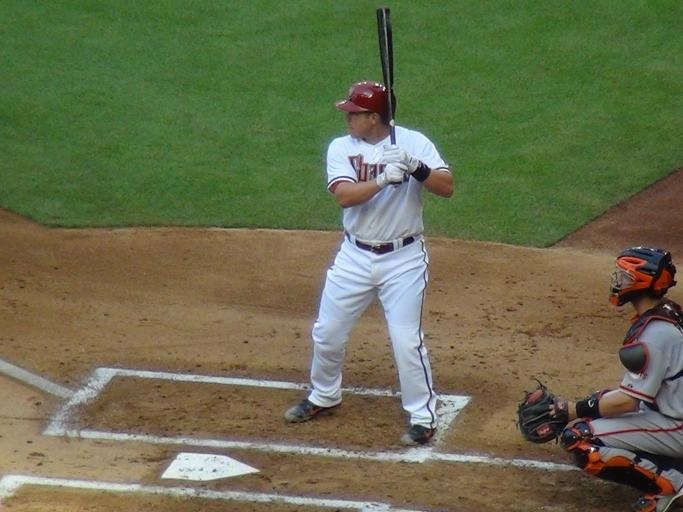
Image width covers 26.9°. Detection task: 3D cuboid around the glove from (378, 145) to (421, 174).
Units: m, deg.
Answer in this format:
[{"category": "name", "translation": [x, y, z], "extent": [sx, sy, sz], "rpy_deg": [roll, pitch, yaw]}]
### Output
[{"category": "glove", "translation": [0.586, -0.955, 14.182], "extent": [0.368, 0.260, 0.198], "rpy_deg": [9, 41, 1]}]

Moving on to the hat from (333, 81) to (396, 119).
[{"category": "hat", "translation": [0.247, -1.599, 14.476], "extent": [0.523, 0.215, 0.361], "rpy_deg": [8, 14, -2]}]

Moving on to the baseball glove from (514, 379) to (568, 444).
[{"category": "baseball glove", "translation": [1.992, 1.575, 14.327], "extent": [0.492, 0.357, 0.817], "rpy_deg": [18, 32, 39]}]

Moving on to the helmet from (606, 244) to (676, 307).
[{"category": "helmet", "translation": [2.933, 0.206, 13.922], "extent": [0.591, 0.572, 0.398], "rpy_deg": [16, 42, 9]}]
